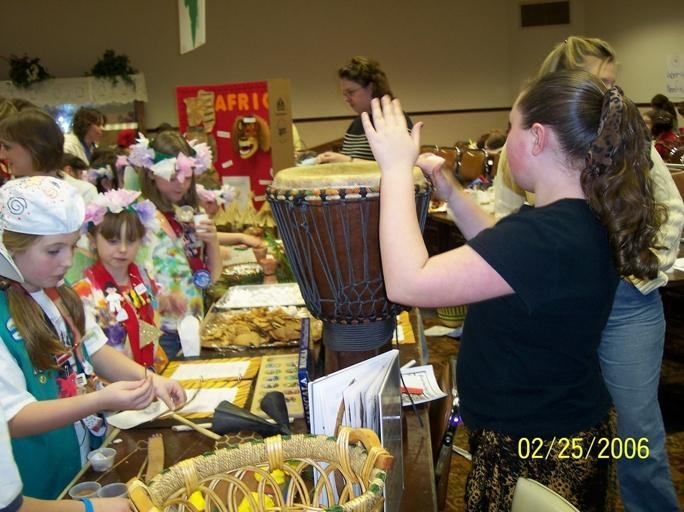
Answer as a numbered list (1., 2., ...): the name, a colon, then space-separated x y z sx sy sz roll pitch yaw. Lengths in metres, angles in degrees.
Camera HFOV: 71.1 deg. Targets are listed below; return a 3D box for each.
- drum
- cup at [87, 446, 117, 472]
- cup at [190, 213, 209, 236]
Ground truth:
1. drum: 0.031 0.159 1.381 0.406 0.785 0.411 -3 9 0
2. cup: -0.645 0.543 1.293 0.050 0.028 0.053 3 12 -1
3. cup: -0.731 -0.169 2.464 0.079 0.096 0.085 0 -2 0
